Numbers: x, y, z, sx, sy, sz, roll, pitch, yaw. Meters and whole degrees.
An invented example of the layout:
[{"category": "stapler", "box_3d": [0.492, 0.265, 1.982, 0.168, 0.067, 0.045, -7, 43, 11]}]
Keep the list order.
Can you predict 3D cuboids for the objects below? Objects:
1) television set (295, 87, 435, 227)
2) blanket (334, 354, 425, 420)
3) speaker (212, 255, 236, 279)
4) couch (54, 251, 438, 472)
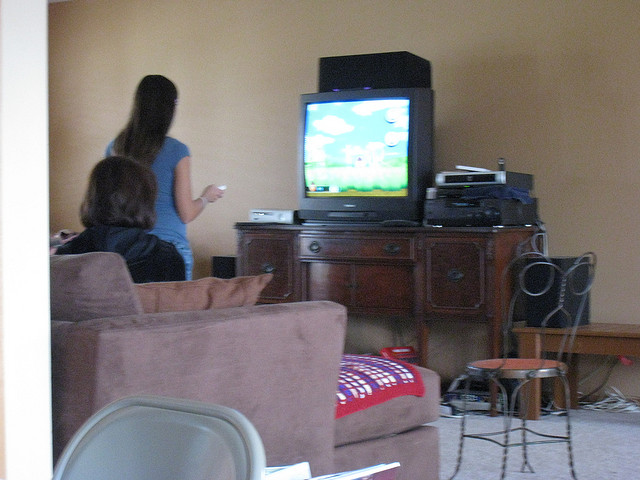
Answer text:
[{"category": "television set", "box_3d": [0.370, -0.526, 4.097, 0.991, 0.884, 0.546, 2, 3, 36]}, {"category": "blanket", "box_3d": [0.188, 0.462, 2.061, 0.263, 0.058, 0.244, -5, 10, -29]}, {"category": "speaker", "box_3d": [-0.681, 0.198, 4.293, 0.156, 0.139, 0.081, 4, 5, 22]}, {"category": "couch", "box_3d": [-0.163, 0.343, 1.797, 1.011, 0.605, 0.763, -1, 2, -43]}]
